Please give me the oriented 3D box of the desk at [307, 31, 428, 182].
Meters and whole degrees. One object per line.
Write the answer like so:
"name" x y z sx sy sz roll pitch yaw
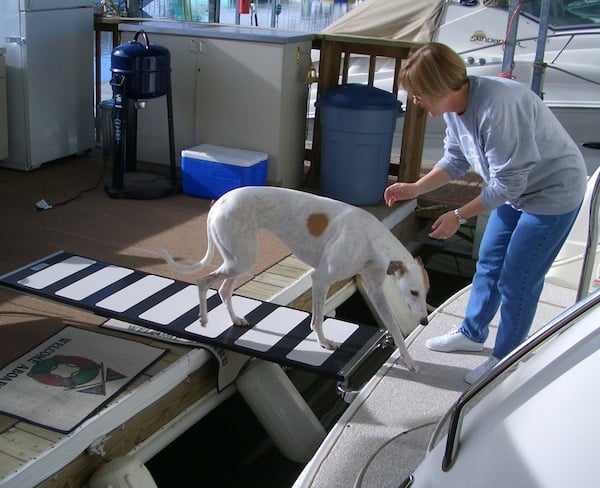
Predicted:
"desk" 0.637 -1.649 4.957 1.530 1.775 1.271 8 35 8

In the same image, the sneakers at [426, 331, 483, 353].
"sneakers" 0.871 0.569 2.569 0.349 0.137 0.119 3 14 5

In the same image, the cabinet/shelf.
"cabinet/shelf" -0.861 -1.409 4.533 1.886 1.548 0.720 12 26 17

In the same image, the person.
"person" 0.863 -0.074 2.114 0.844 1.588 0.470 9 24 13

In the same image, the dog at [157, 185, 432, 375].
"dog" -0.033 0.135 2.183 1.390 0.730 0.367 10 17 19
